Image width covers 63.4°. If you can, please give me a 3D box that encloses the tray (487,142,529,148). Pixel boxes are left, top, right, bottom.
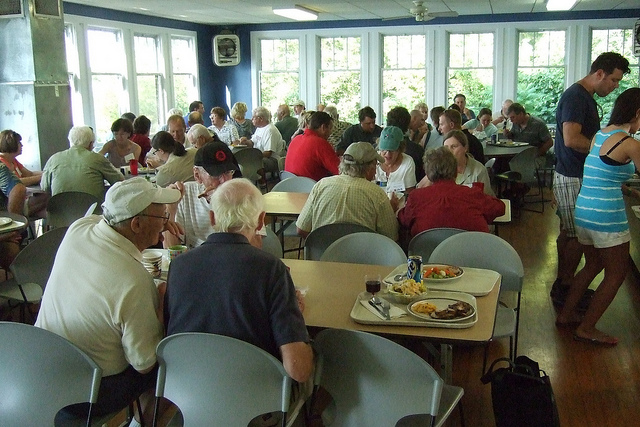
[{"bbox_3d":[2.768,-1.005,7.695,0.574,0.037,0.456,5,16,23],"label":"tray"}]

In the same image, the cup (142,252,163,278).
[{"bbox_3d":[-1.033,0.324,3.259,0.133,0.124,0.149,0,-1,8],"label":"cup"}]

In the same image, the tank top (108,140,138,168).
[{"bbox_3d":[-2.563,-0.781,6.791,0.509,0.341,0.241,9,17,34],"label":"tank top"}]

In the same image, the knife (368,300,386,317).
[{"bbox_3d":[0.316,0.517,2.839,0.028,0.019,0.115,-25,40,-20],"label":"knife"}]

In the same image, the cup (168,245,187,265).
[{"bbox_3d":[-0.781,0.233,2.889,0.100,0.107,0.141,2,9,-5],"label":"cup"}]

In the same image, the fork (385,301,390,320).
[{"bbox_3d":[0.367,0.527,2.793,0.017,0.082,0.009,6,-28,-7],"label":"fork"}]

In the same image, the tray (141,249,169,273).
[{"bbox_3d":[-1.054,0.300,3.399,0.178,0.146,0.190,-2,7,-13],"label":"tray"}]

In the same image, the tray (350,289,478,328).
[{"bbox_3d":[0.525,0.520,2.873,0.673,0.076,0.352,1,14,9],"label":"tray"}]

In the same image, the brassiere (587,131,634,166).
[{"bbox_3d":[2.105,-0.467,3.728,0.182,0.165,0.204,-14,16,0],"label":"brassiere"}]

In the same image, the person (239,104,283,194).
[{"bbox_3d":[-1.007,-1.102,8.814,0.719,1.389,0.627,-14,27,-21],"label":"person"}]

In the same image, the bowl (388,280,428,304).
[{"bbox_3d":[0.507,0.439,2.955,0.136,0.076,0.143,-2,6,0],"label":"bowl"}]

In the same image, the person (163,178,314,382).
[{"bbox_3d":[-0.405,0.331,2.548,0.742,0.901,0.401,-1,14,3],"label":"person"}]

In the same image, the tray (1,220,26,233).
[{"bbox_3d":[-2.519,0.111,4.329,0.140,0.045,0.272,-3,14,-7],"label":"tray"}]

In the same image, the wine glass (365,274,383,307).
[{"bbox_3d":[0.312,0.434,3.022,0.096,0.167,0.102,7,9,37],"label":"wine glass"}]

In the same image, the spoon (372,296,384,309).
[{"bbox_3d":[0.324,0.492,2.858,0.026,0.018,0.074,-15,21,-8],"label":"spoon"}]

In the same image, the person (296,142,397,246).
[{"bbox_3d":[0.235,-0.120,4.063,0.803,0.845,0.532,7,14,8],"label":"person"}]

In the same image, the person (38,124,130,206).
[{"bbox_3d":[-2.512,-0.507,5.550,0.700,1.191,0.633,9,24,-1],"label":"person"}]
